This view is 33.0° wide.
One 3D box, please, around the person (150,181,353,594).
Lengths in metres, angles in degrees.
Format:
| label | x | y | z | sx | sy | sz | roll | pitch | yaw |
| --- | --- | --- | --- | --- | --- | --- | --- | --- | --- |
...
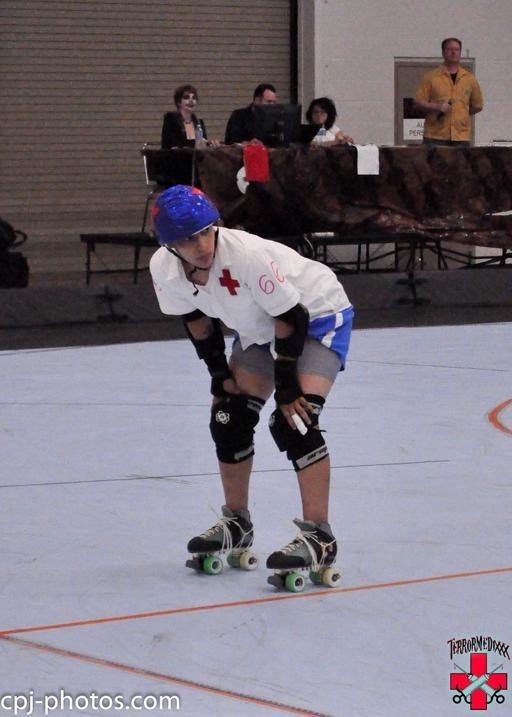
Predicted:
| label | x | y | z | sx | sy | sz | roll | pitch | yaw |
| --- | --- | --- | --- | --- | --- | --- | --- | --- | --- |
| person | -0.013 | 0.058 | 2.375 | 0.553 | 1.012 | 0.563 | -1 | 3 | 4 |

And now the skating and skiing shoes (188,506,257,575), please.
| label | x | y | z | sx | sy | sz | roll | pitch | yaw |
| --- | --- | --- | --- | --- | --- | --- | --- | --- | --- |
| skating and skiing shoes | -0.103 | 0.502 | 2.379 | 0.098 | 0.161 | 0.253 | -6 | -9 | 42 |

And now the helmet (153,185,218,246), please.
| label | x | y | z | sx | sy | sz | roll | pitch | yaw |
| --- | --- | --- | --- | --- | --- | --- | --- | --- | --- |
| helmet | -0.177 | -0.353 | 2.176 | 0.161 | 0.151 | 0.134 | -16 | 27 | -32 |

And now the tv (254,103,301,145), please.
| label | x | y | z | sx | sy | sz | roll | pitch | yaw |
| --- | --- | --- | --- | --- | --- | --- | --- | --- | --- |
| tv | 0.211 | -2.034 | 7.615 | 0.437 | 0.381 | 0.251 | -1 | 3 | -12 |

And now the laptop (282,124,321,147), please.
| label | x | y | z | sx | sy | sz | roll | pitch | yaw |
| --- | --- | --- | --- | --- | --- | --- | --- | --- | --- |
| laptop | 0.388 | -1.992 | 7.714 | 0.352 | 0.226 | 0.215 | -9 | 42 | -32 |

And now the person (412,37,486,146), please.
| label | x | y | z | sx | sy | sz | roll | pitch | yaw |
| --- | --- | --- | --- | --- | --- | --- | --- | --- | --- |
| person | 2.003 | -2.574 | 8.660 | 0.653 | 1.247 | 0.513 | -4 | 21 | 0 |
